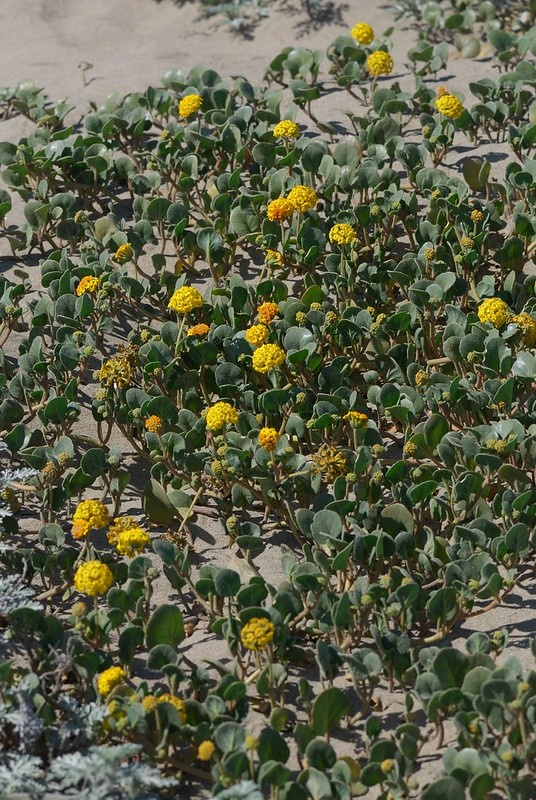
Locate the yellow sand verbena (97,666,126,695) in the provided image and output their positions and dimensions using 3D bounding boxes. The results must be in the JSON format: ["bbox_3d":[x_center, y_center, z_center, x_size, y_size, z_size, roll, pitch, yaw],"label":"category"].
[{"bbox_3d":[-0.596,1.082,3.978,0.101,0.139,0.104,-3,15,-14],"label":"yellow sand verbena"}]

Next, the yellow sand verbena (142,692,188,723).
[{"bbox_3d":[-0.375,1.141,3.824,0.130,0.053,0.146,18,14,32],"label":"yellow sand verbena"}]
